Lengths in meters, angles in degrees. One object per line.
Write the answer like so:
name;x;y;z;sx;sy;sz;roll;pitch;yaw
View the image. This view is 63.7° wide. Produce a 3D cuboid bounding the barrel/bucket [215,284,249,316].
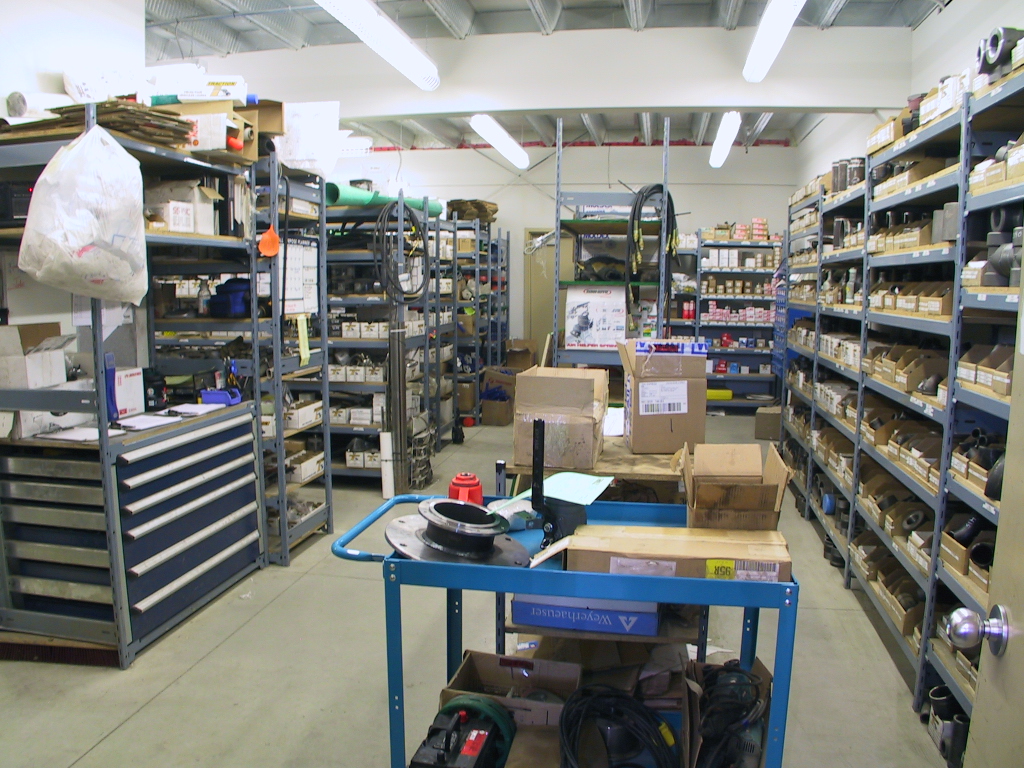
barrel/bucket;-1.658;-0.503;4.902;0.172;0.179;0.179;0;6;0
